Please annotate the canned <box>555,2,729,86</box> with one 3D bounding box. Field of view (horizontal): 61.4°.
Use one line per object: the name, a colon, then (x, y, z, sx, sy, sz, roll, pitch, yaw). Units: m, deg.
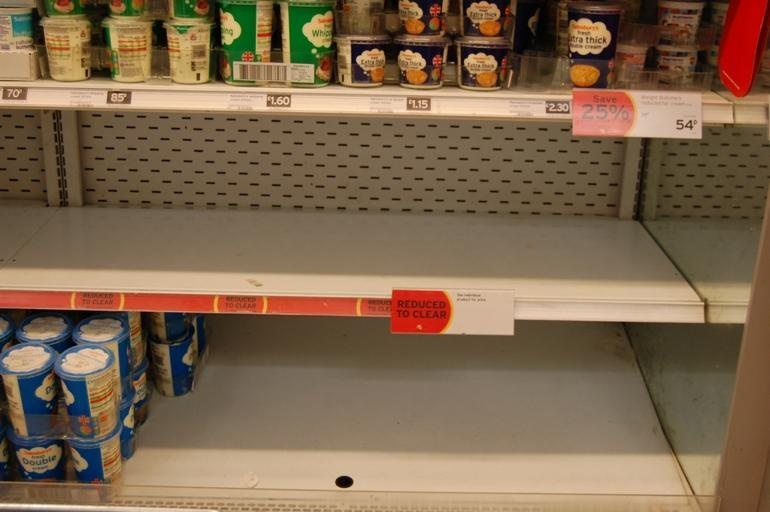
canned: (0.770, -0.630, 1.940, 0.284, 0.149, 0.124, -2, 33, 0)
